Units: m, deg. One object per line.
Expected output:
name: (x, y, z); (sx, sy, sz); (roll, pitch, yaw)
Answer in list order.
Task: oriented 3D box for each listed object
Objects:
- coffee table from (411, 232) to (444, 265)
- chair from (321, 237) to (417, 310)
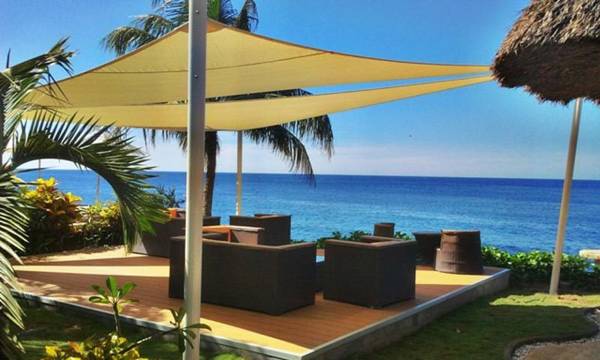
coffee table: (2.775, 1.435, 10.253); (0.827, 0.613, 0.759); (0, -3, 4)
chair: (1.143, 1.471, 7.752); (1.141, 0.998, 1.243); (-2, -3, 40)
